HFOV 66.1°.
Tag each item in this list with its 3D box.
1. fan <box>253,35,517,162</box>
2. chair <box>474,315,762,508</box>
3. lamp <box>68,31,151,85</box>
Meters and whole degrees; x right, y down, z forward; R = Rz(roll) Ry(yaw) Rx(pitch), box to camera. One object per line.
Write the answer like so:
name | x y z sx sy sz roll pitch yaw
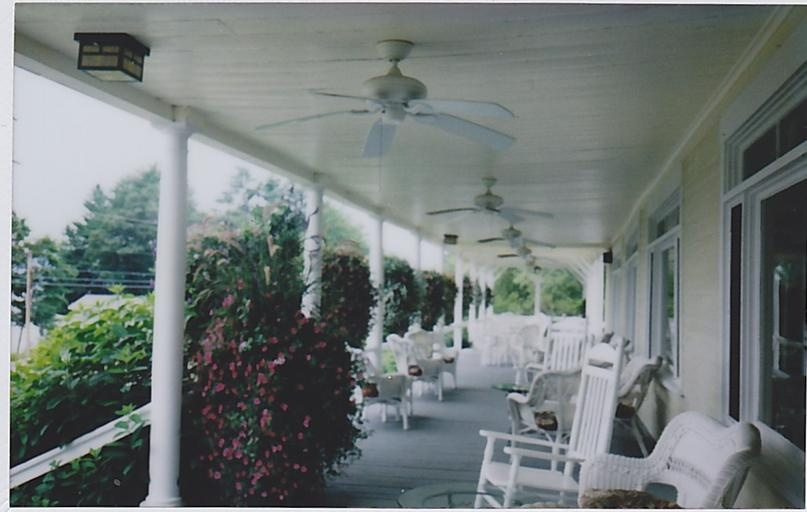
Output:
fan | 0.066 -1.013 4.030 1.141 0.541 0.714 2 -6 -3
chair | 1.189 1.061 3.774 0.890 1.121 1.570 5 -7 -31
lamp | -1.805 -1.194 3.819 0.339 0.205 0.294 0 -10 17
